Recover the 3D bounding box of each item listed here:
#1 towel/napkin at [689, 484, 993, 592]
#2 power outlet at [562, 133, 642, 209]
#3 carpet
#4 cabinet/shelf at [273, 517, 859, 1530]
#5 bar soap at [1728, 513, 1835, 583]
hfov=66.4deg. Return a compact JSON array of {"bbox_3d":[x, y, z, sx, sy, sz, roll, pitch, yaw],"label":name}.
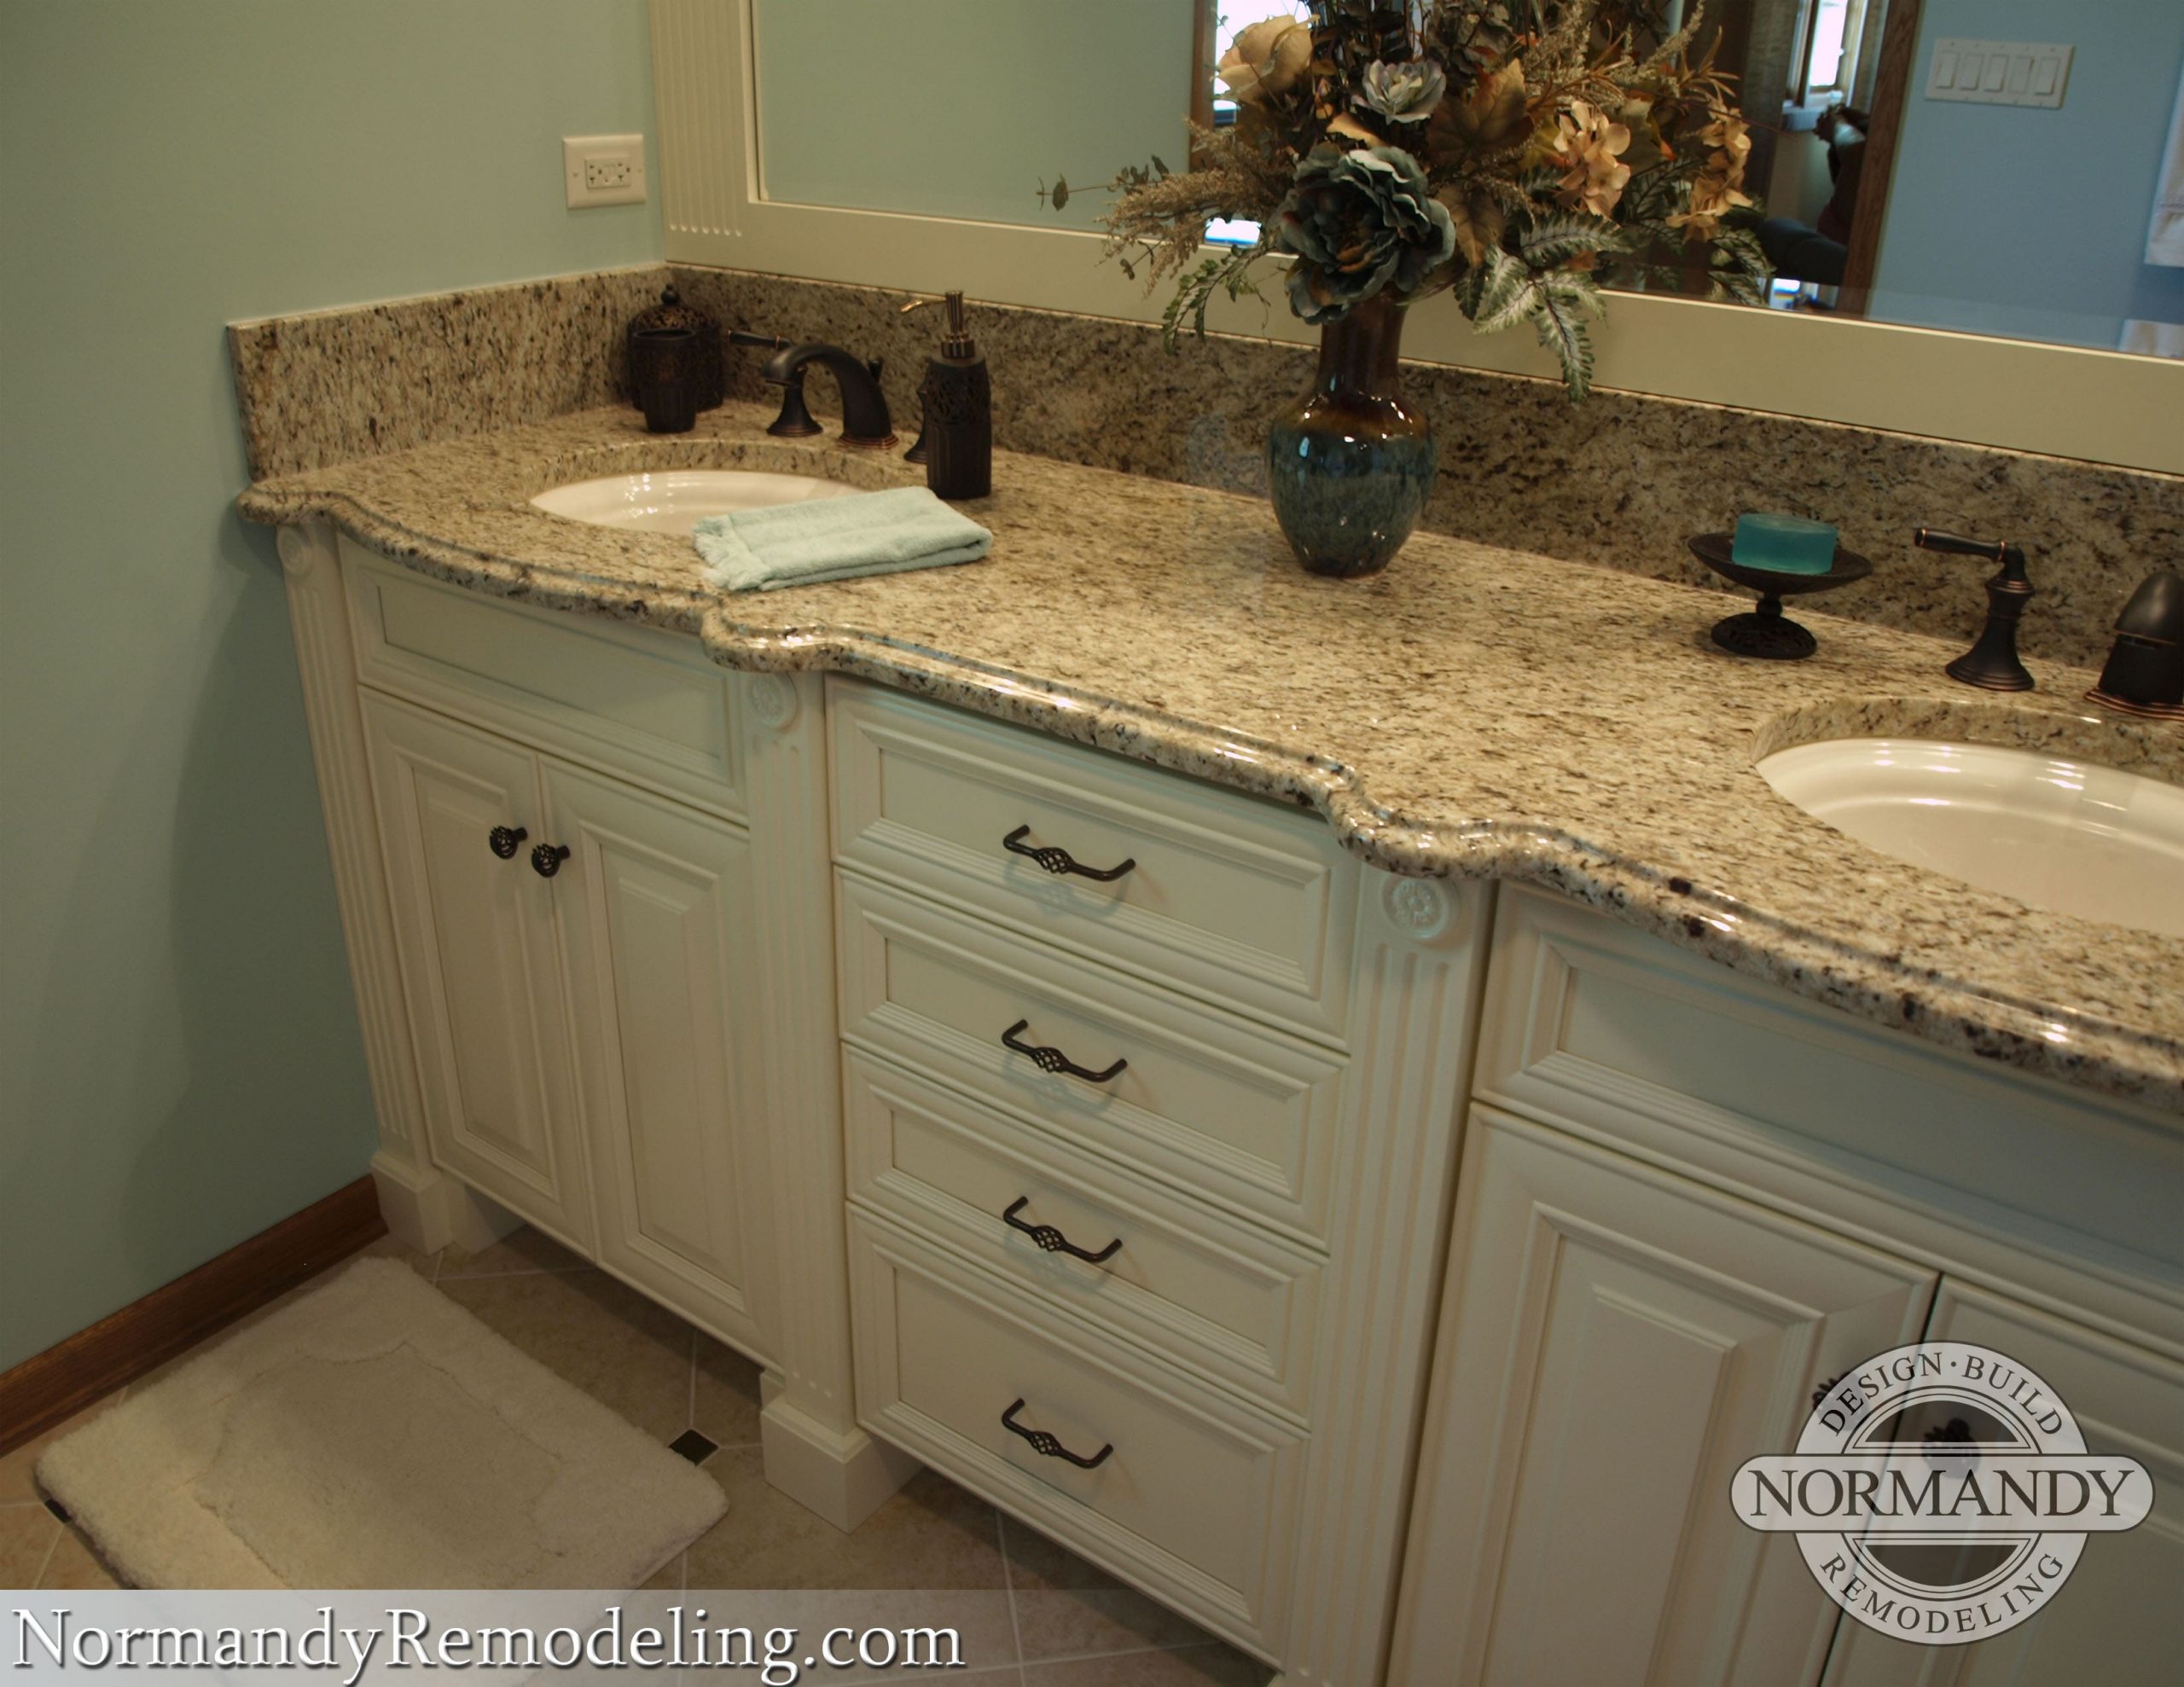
[{"bbox_3d":[-0.280,-0.321,1.781,0.182,0.032,0.185,-9,27,-19],"label":"towel/napkin"},{"bbox_3d":[-0.677,-0.928,2.307,0.011,0.074,0.113,22,30,36],"label":"power outlet"},{"bbox_3d":[-0.875,0.601,1.948,0.416,0.058,0.331,20,31,29],"label":"carpet"},{"bbox_3d":[-0.519,0.104,2.171,1.001,1.101,0.589,19,28,36],"label":"cabinet/shelf"},{"bbox_3d":[0.662,-0.283,1.605,0.075,0.034,0.075,14,24,30],"label":"bar soap"}]
